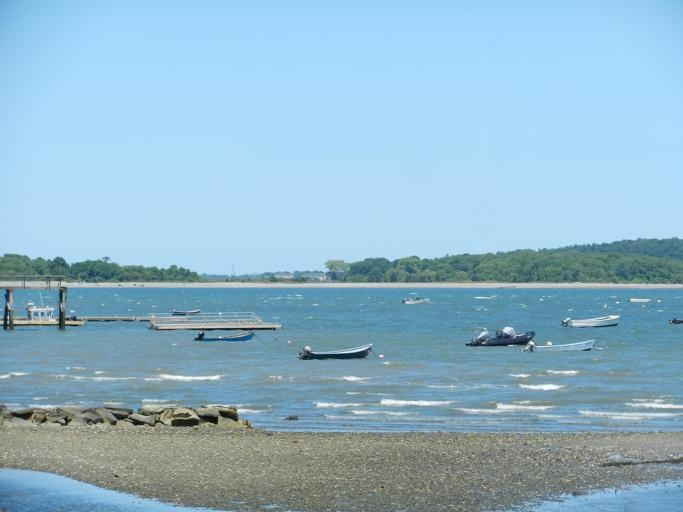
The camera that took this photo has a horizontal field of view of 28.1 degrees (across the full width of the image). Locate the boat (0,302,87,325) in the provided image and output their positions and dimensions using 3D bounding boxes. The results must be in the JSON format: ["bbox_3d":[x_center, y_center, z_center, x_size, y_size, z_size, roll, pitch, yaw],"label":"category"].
[{"bbox_3d":[-26.854,5.737,127.249,6.830,1.788,3.384,-1,1,-23],"label":"boat"}]

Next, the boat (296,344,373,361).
[{"bbox_3d":[-0.615,7.365,102.791,6.200,0.935,1.637,-1,9,-3],"label":"boat"}]
